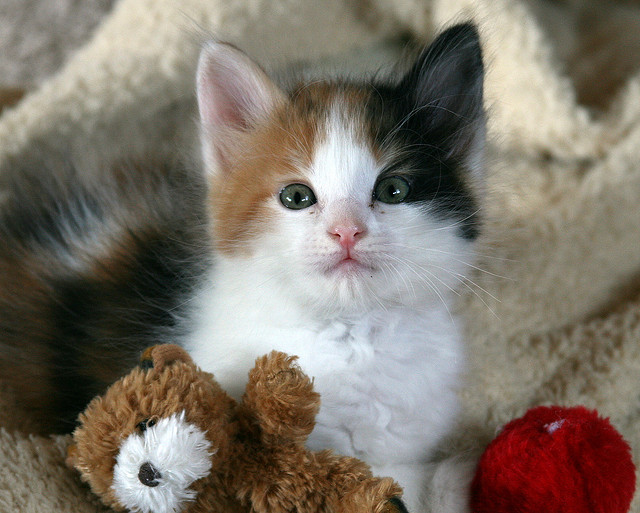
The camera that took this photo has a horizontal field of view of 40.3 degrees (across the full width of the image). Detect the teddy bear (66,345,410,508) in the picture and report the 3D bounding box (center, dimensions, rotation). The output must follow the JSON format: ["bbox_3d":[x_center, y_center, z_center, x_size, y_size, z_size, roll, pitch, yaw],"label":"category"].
[{"bbox_3d":[-0.132,0.253,1.250,0.352,0.153,0.275,8,-79,-6],"label":"teddy bear"}]
